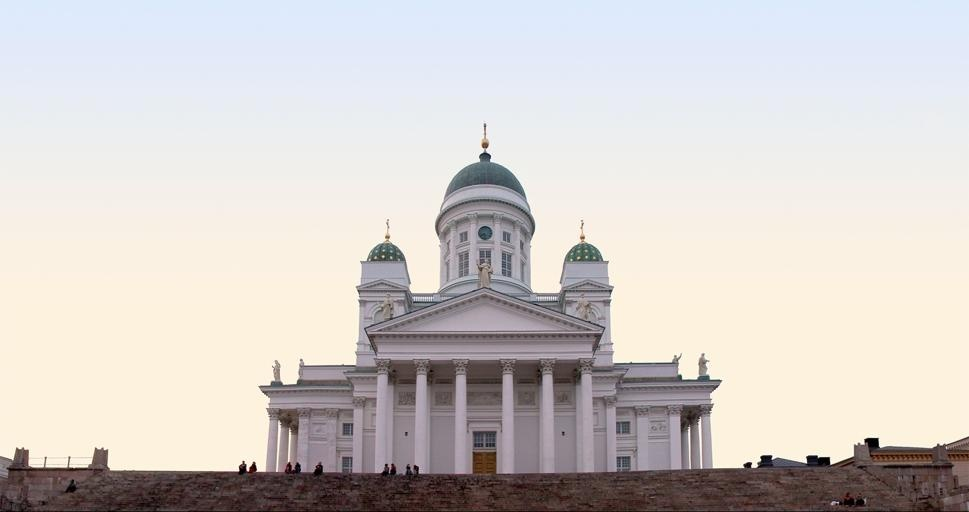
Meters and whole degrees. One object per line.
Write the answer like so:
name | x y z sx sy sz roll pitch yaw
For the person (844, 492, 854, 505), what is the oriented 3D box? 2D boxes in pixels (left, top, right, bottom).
person | 28.728 18.905 179.566 0.754 1.282 1.146 -2 -23 8

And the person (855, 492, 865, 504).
person | 29.553 18.946 179.290 0.636 0.851 0.746 -9 -25 21
